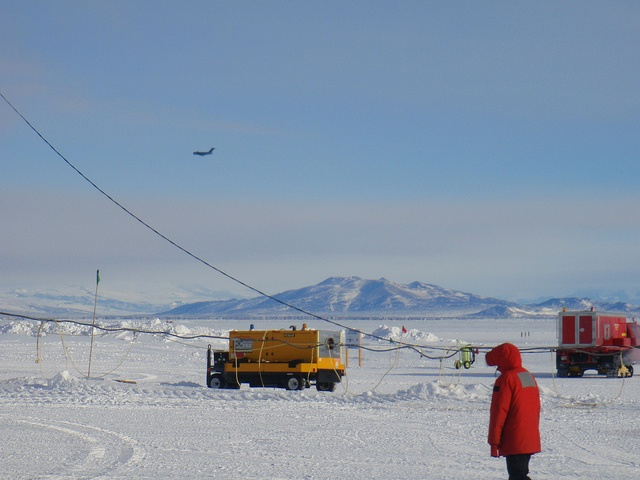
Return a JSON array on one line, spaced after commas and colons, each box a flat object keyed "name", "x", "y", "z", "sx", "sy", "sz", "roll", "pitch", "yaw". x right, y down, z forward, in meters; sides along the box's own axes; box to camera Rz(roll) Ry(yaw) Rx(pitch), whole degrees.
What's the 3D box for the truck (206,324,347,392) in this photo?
[{"name": "truck", "x": -1.721, "y": 5.173, "z": 58.649, "sx": 4.855, "sy": 2.530, "sz": 3.099, "roll": -2, "pitch": -3, "yaw": 16}]
